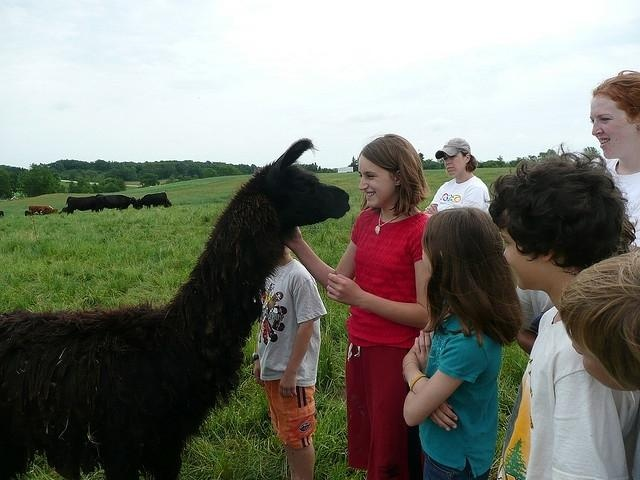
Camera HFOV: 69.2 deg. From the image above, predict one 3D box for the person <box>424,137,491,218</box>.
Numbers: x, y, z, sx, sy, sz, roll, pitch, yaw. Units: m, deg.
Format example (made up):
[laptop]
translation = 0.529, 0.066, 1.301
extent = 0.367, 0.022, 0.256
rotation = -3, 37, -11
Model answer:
[person]
translation = 1.880, -0.733, 6.346
extent = 0.711, 1.313, 0.951
rotation = -1, 7, -31
